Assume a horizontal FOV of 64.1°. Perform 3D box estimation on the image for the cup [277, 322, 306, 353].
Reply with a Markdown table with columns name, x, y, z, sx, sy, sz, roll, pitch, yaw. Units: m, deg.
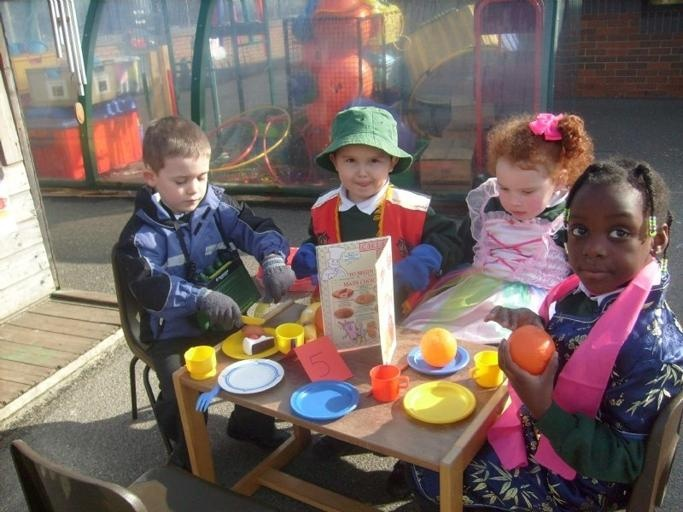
| name | x | y | z | sx | sy | sz | roll | pitch | yaw |
| --- | --- | --- | --- | --- | --- | --- | --- | --- | --- |
| cup | -0.212 | 0.321 | 2.228 | 0.094 | 0.086 | 0.120 | -19 | 40 | -23 |

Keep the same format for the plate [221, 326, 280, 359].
| name | x | y | z | sx | sy | sz | roll | pitch | yaw |
| --- | --- | --- | --- | --- | --- | --- | --- | --- | --- |
| plate | -0.350 | 0.362 | 2.218 | 0.251 | 0.072 | 0.246 | -8 | 9 | -43 |

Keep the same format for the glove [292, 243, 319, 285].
| name | x | y | z | sx | sy | sz | roll | pitch | yaw |
| --- | --- | --- | --- | --- | --- | --- | --- | --- | --- |
| glove | -0.192 | 0.026 | 2.799 | 0.070 | 0.178 | 0.180 | -2 | 4 | -44 |

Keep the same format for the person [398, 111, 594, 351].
| name | x | y | z | sx | sy | sz | roll | pitch | yaw |
| --- | --- | --- | --- | --- | --- | --- | --- | --- | --- |
| person | 0.754 | -0.057 | 2.632 | 0.952 | 1.054 | 0.697 | -21 | 30 | -34 |

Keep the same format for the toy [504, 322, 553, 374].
| name | x | y | z | sx | sy | sz | roll | pitch | yaw |
| --- | --- | --- | --- | --- | --- | --- | --- | --- | --- |
| toy | 0.585 | 0.300 | 1.765 | 0.139 | 0.136 | 0.137 | -4 | 38 | 45 |

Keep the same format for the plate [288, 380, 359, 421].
| name | x | y | z | sx | sy | sz | roll | pitch | yaw |
| --- | --- | --- | --- | --- | --- | --- | --- | --- | --- |
| plate | -0.062 | 0.504 | 1.904 | 0.237 | 0.037 | 0.200 | -1 | 19 | 3 |

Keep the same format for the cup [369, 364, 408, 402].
| name | x | y | z | sx | sy | sz | roll | pitch | yaw |
| --- | --- | --- | --- | --- | --- | --- | --- | --- | --- |
| cup | 0.160 | 0.444 | 1.942 | 0.151 | 0.111 | 0.116 | 2 | 9 | 5 |

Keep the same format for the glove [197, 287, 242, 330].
| name | x | y | z | sx | sy | sz | roll | pitch | yaw |
| --- | --- | --- | --- | --- | --- | --- | --- | --- | --- |
| glove | -0.572 | 0.235 | 2.472 | 0.160 | 0.092 | 0.212 | 35 | 8 | -42 |

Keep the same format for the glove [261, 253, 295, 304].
| name | x | y | z | sx | sy | sz | roll | pitch | yaw |
| --- | --- | --- | --- | --- | --- | --- | --- | --- | --- |
| glove | -0.309 | 0.116 | 2.606 | 0.160 | 0.088 | 0.206 | 14 | 54 | -17 |

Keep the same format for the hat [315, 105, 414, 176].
| name | x | y | z | sx | sy | sz | roll | pitch | yaw |
| --- | --- | --- | --- | --- | --- | --- | --- | --- | --- |
| hat | 0.088 | -0.567 | 2.737 | 0.386 | 0.204 | 0.389 | -2 | 5 | -11 |

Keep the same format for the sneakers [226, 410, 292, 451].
| name | x | y | z | sx | sy | sz | roll | pitch | yaw |
| --- | --- | --- | --- | --- | --- | --- | --- | --- | --- |
| sneakers | -0.456 | 0.914 | 2.949 | 0.282 | 0.084 | 0.215 | 13 | 16 | 11 |

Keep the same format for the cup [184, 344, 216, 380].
| name | x | y | z | sx | sy | sz | roll | pitch | yaw |
| --- | --- | --- | --- | --- | --- | --- | --- | --- | --- |
| cup | -0.547 | 0.403 | 2.083 | 0.109 | 0.080 | 0.126 | -2 | 14 | -5 |

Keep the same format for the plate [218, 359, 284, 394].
| name | x | y | z | sx | sy | sz | roll | pitch | yaw |
| --- | --- | --- | --- | --- | --- | --- | --- | --- | --- |
| plate | -0.341 | 0.438 | 2.029 | 0.243 | 0.242 | 0.025 | 19 | 40 | -35 |

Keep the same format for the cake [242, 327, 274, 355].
| name | x | y | z | sx | sy | sz | roll | pitch | yaw |
| --- | --- | --- | --- | --- | --- | --- | --- | --- | --- |
| cake | -0.344 | 0.339 | 2.232 | 0.112 | 0.067 | 0.110 | 5 | 21 | 23 |
